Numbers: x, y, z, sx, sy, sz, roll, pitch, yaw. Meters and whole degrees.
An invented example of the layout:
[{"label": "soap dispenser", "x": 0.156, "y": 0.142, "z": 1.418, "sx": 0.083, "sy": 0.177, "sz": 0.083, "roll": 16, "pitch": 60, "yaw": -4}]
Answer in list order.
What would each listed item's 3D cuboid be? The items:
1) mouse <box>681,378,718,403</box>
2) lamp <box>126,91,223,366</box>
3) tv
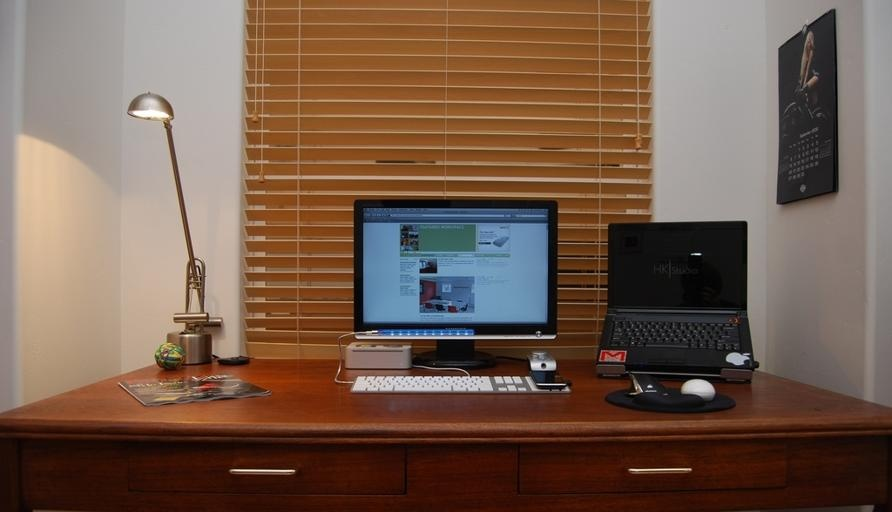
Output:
[{"label": "mouse", "x": 0.906, "y": 0.480, "z": 2.522, "sx": 0.093, "sy": 0.050, "sz": 0.095, "roll": 0, "pitch": -1, "yaw": -3}, {"label": "lamp", "x": -1.110, "y": -0.108, "z": 2.934, "sx": 0.365, "sy": 1.110, "sz": 0.298, "roll": 1, "pitch": 1, "yaw": -16}, {"label": "tv", "x": 0.031, "y": 0.094, "z": 2.887, "sx": 0.882, "sy": 0.562, "sz": 0.206, "roll": 1, "pitch": 3, "yaw": -1}]
